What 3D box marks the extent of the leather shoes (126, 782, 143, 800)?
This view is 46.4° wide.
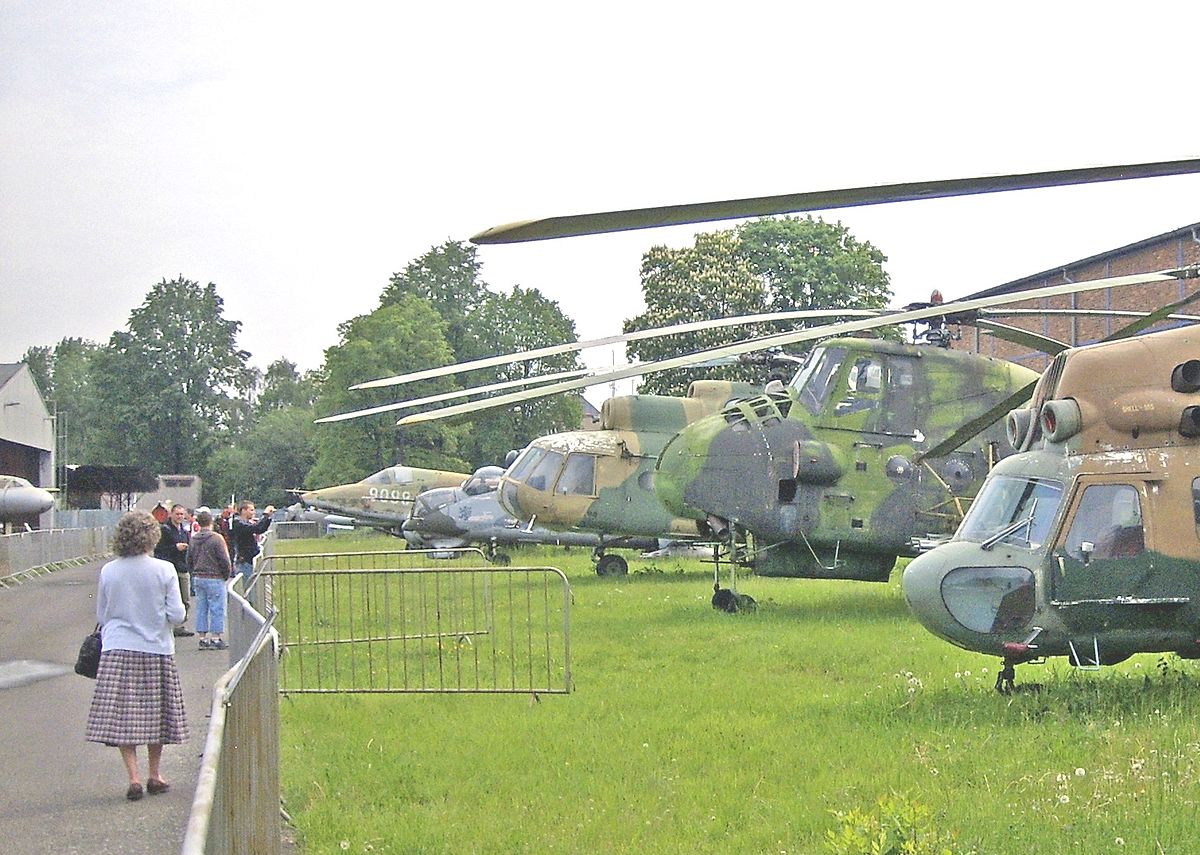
[{"bbox_3d":[-4.191,3.223,12.572,0.162,0.154,0.226,1,-6,-20],"label":"leather shoes"}]
